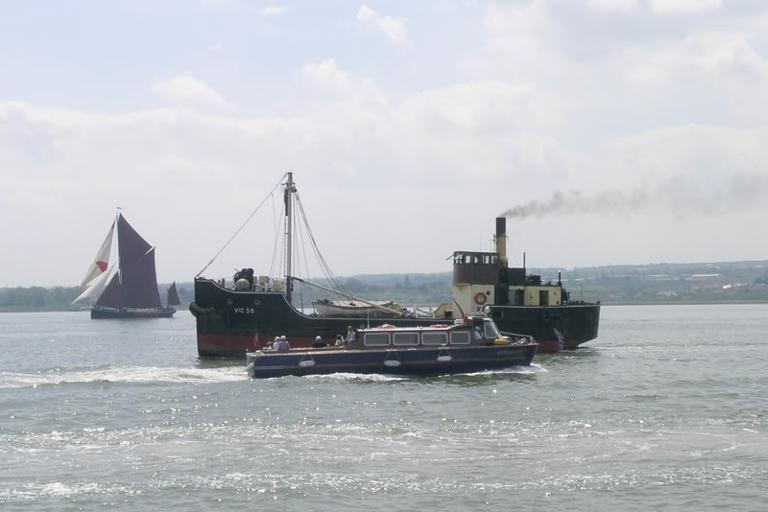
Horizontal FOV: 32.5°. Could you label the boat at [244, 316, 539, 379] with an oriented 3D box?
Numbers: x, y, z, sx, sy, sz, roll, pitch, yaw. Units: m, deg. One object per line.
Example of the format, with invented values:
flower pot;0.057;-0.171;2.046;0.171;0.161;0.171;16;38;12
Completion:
boat;1.983;6.591;102.866;23.488;5.390;15.171;-1;-8;4
